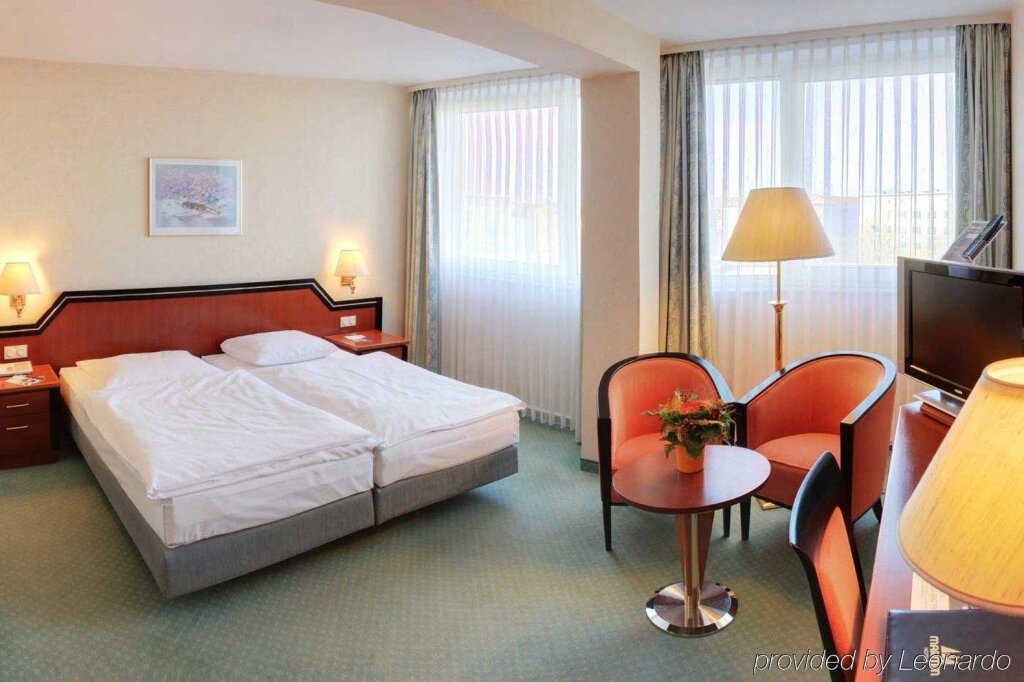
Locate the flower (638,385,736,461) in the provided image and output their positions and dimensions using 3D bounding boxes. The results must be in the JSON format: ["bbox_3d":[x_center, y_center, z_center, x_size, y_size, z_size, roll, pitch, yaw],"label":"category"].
[{"bbox_3d":[0.985,0.447,4.082,0.416,0.292,0.419,-5,4,-18],"label":"flower"}]

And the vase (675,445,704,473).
[{"bbox_3d":[0.999,0.665,4.080,0.150,0.149,0.148,-1,6,16],"label":"vase"}]

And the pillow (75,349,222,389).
[{"bbox_3d":[-2.954,0.221,5.847,0.499,0.128,0.562,2,15,-17],"label":"pillow"}]

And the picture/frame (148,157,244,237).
[{"bbox_3d":[-2.867,-1.303,6.516,0.751,0.667,0.050,-1,1,-38],"label":"picture/frame"}]

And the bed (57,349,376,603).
[{"bbox_3d":[-2.239,0.637,4.955,1.178,0.730,2.234,-7,18,-40],"label":"bed"}]

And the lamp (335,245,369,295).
[{"bbox_3d":[-1.612,-0.685,7.284,0.301,0.461,0.386,-3,15,-12],"label":"lamp"}]

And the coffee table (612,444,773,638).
[{"bbox_3d":[0.935,1.113,4.219,0.910,0.826,0.989,1,14,32],"label":"coffee table"}]
